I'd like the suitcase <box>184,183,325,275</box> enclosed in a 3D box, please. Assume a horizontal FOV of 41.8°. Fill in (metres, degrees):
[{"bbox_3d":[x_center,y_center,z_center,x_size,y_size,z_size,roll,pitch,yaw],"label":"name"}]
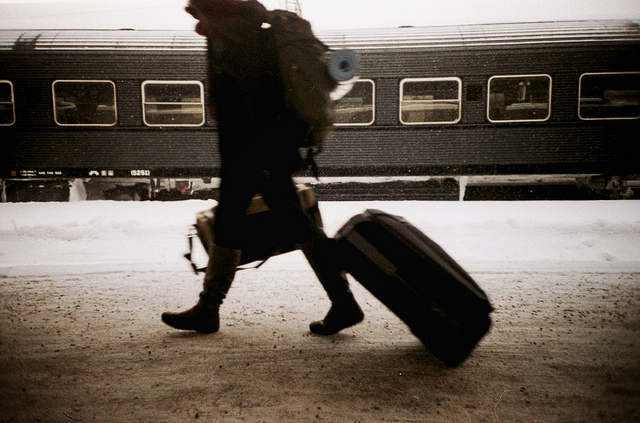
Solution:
[{"bbox_3d":[-0.776,0.265,10.456,1.279,0.650,0.637,-14,-21,-3],"label":"suitcase"}]
